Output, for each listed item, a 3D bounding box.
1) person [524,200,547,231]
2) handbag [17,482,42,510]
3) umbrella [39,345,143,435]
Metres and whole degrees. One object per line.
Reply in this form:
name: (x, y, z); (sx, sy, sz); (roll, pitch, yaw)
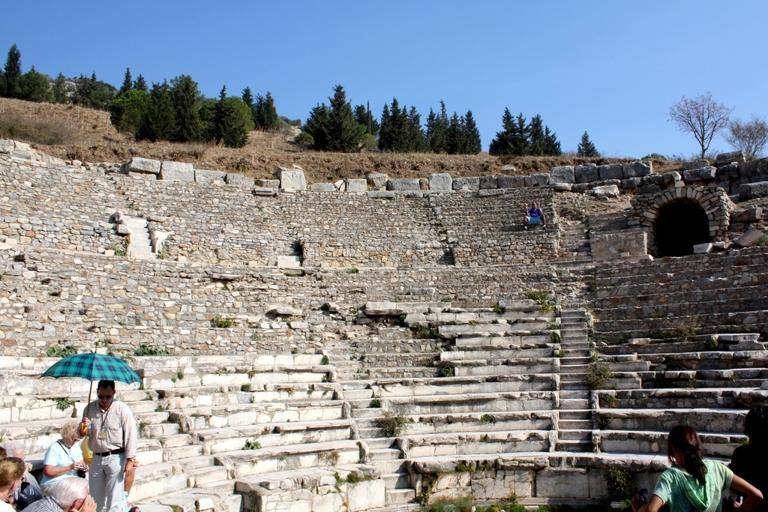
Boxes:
person: (5.986, -1.595, 43.754); (0.898, 1.215, 0.978); (-1, -38, 12)
handbag: (-9.199, 6.166, 28.472); (0.579, 0.738, 0.328); (19, -18, -3)
umbrella: (-8.097, 3.450, 30.384); (2.434, 1.483, 2.207); (7, 5, -40)
